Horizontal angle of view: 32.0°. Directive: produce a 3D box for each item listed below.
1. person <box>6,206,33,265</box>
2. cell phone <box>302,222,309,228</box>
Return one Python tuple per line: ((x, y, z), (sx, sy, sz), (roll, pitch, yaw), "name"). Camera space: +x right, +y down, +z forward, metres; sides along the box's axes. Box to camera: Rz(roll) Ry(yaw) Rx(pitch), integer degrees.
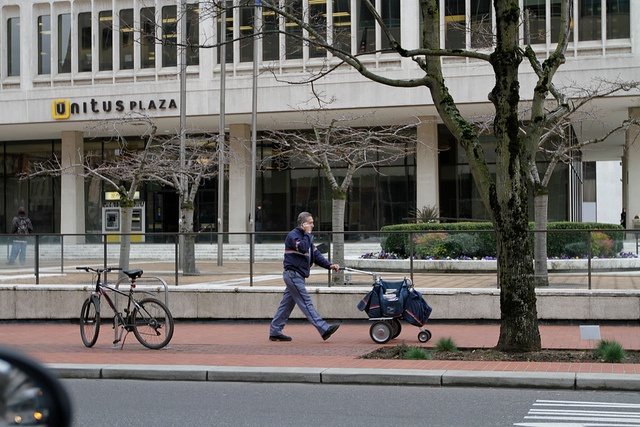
((-11.927, 0.829, 44.520), (0.906, 2.402, 1.084), (4, -3, -11), "person")
((-0.450, 0.354, 35.606), (0.244, 0.159, 0.097), (-3, -3, 2), "cell phone")
